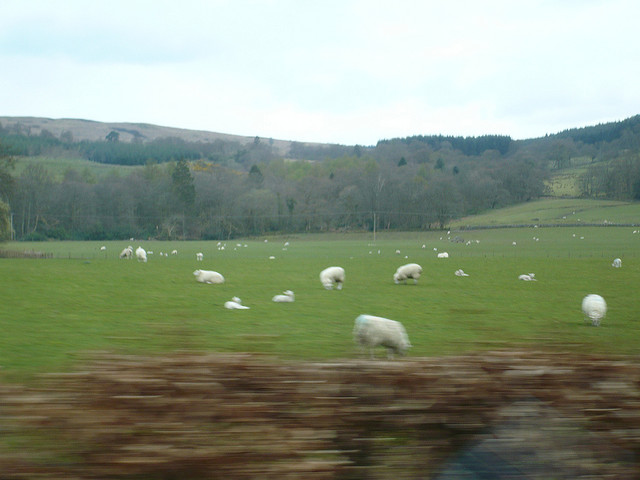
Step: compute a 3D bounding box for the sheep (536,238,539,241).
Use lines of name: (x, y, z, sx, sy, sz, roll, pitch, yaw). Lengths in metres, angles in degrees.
sheep: (43.306, 0.084, 213.029, 0.597, 0.239, 0.749, -6, 7, 26)

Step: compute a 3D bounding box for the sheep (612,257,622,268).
sheep: (43.877, 3.599, 158.092, 1.277, 1.305, 1.677, 4, 7, 19)

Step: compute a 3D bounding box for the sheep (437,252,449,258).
sheep: (19.852, 2.611, 171.583, 1.434, 0.529, 0.956, -2, 4, -37)
